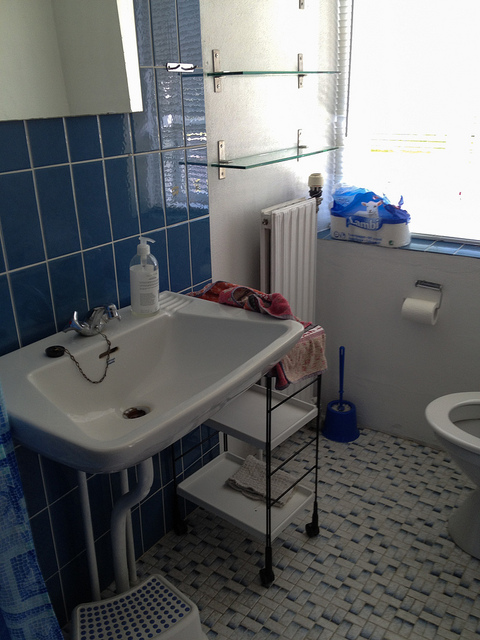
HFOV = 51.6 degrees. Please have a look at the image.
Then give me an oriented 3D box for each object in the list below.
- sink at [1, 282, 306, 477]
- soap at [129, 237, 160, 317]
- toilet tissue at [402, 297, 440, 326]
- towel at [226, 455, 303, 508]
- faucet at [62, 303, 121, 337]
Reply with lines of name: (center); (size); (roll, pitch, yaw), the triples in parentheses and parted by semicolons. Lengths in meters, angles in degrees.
sink: (-0.199, 0.101, 1.100); (0.506, 0.201, 0.693); (13, 26, 31)
soap: (-0.242, -0.112, 1.264); (0.077, 0.200, 0.077); (0, 21, -5)
toilet tissue: (0.707, -0.036, 1.949); (0.128, 0.116, 0.107); (10, 29, 32)
towel: (0.097, 0.526, 1.684); (0.208, 0.090, 0.201); (-12, 28, -35)
faucet: (-0.333, -0.012, 1.165); (0.133, 0.074, 0.133); (-7, 23, -26)
